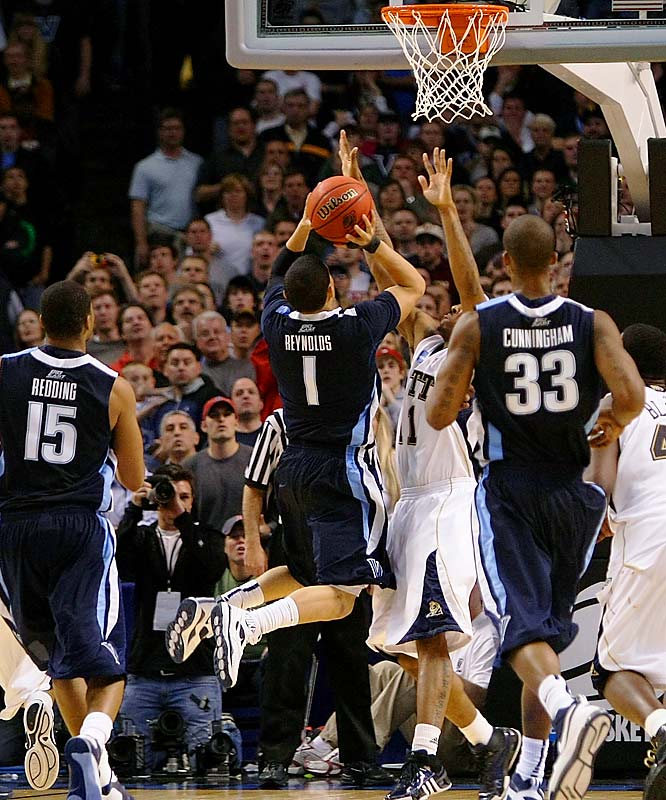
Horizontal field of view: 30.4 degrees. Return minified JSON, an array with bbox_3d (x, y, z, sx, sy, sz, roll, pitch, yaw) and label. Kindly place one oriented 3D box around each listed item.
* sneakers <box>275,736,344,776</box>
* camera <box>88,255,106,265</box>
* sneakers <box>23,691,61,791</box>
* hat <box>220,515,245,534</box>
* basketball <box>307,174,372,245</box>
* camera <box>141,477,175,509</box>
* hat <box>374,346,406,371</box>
[{"bbox_3d":[-0.098,1.863,6.430,0.262,0.197,0.298,1,0,-2],"label":"sneakers"},{"bbox_3d":[-2.032,-1.208,10.562,0.102,0.096,0.050,-19,-35,-22],"label":"camera"},{"bbox_3d":[-1.205,1.406,5.041,0.163,0.402,0.178,-8,-15,9],"label":"sneakers"},{"bbox_3d":[-0.624,0.778,7.600,0.109,0.053,0.173,-12,-12,-34],"label":"hat"},{"bbox_3d":[0.042,-0.869,5.531,0.275,0.302,0.225,1,0,5],"label":"basketball"},{"bbox_3d":[-0.942,0.500,6.593,0.181,0.170,0.186,1,-3,-9],"label":"camera"},{"bbox_3d":[0.430,-0.306,9.348,0.125,0.177,0.331,0,0,40],"label":"hat"}]
